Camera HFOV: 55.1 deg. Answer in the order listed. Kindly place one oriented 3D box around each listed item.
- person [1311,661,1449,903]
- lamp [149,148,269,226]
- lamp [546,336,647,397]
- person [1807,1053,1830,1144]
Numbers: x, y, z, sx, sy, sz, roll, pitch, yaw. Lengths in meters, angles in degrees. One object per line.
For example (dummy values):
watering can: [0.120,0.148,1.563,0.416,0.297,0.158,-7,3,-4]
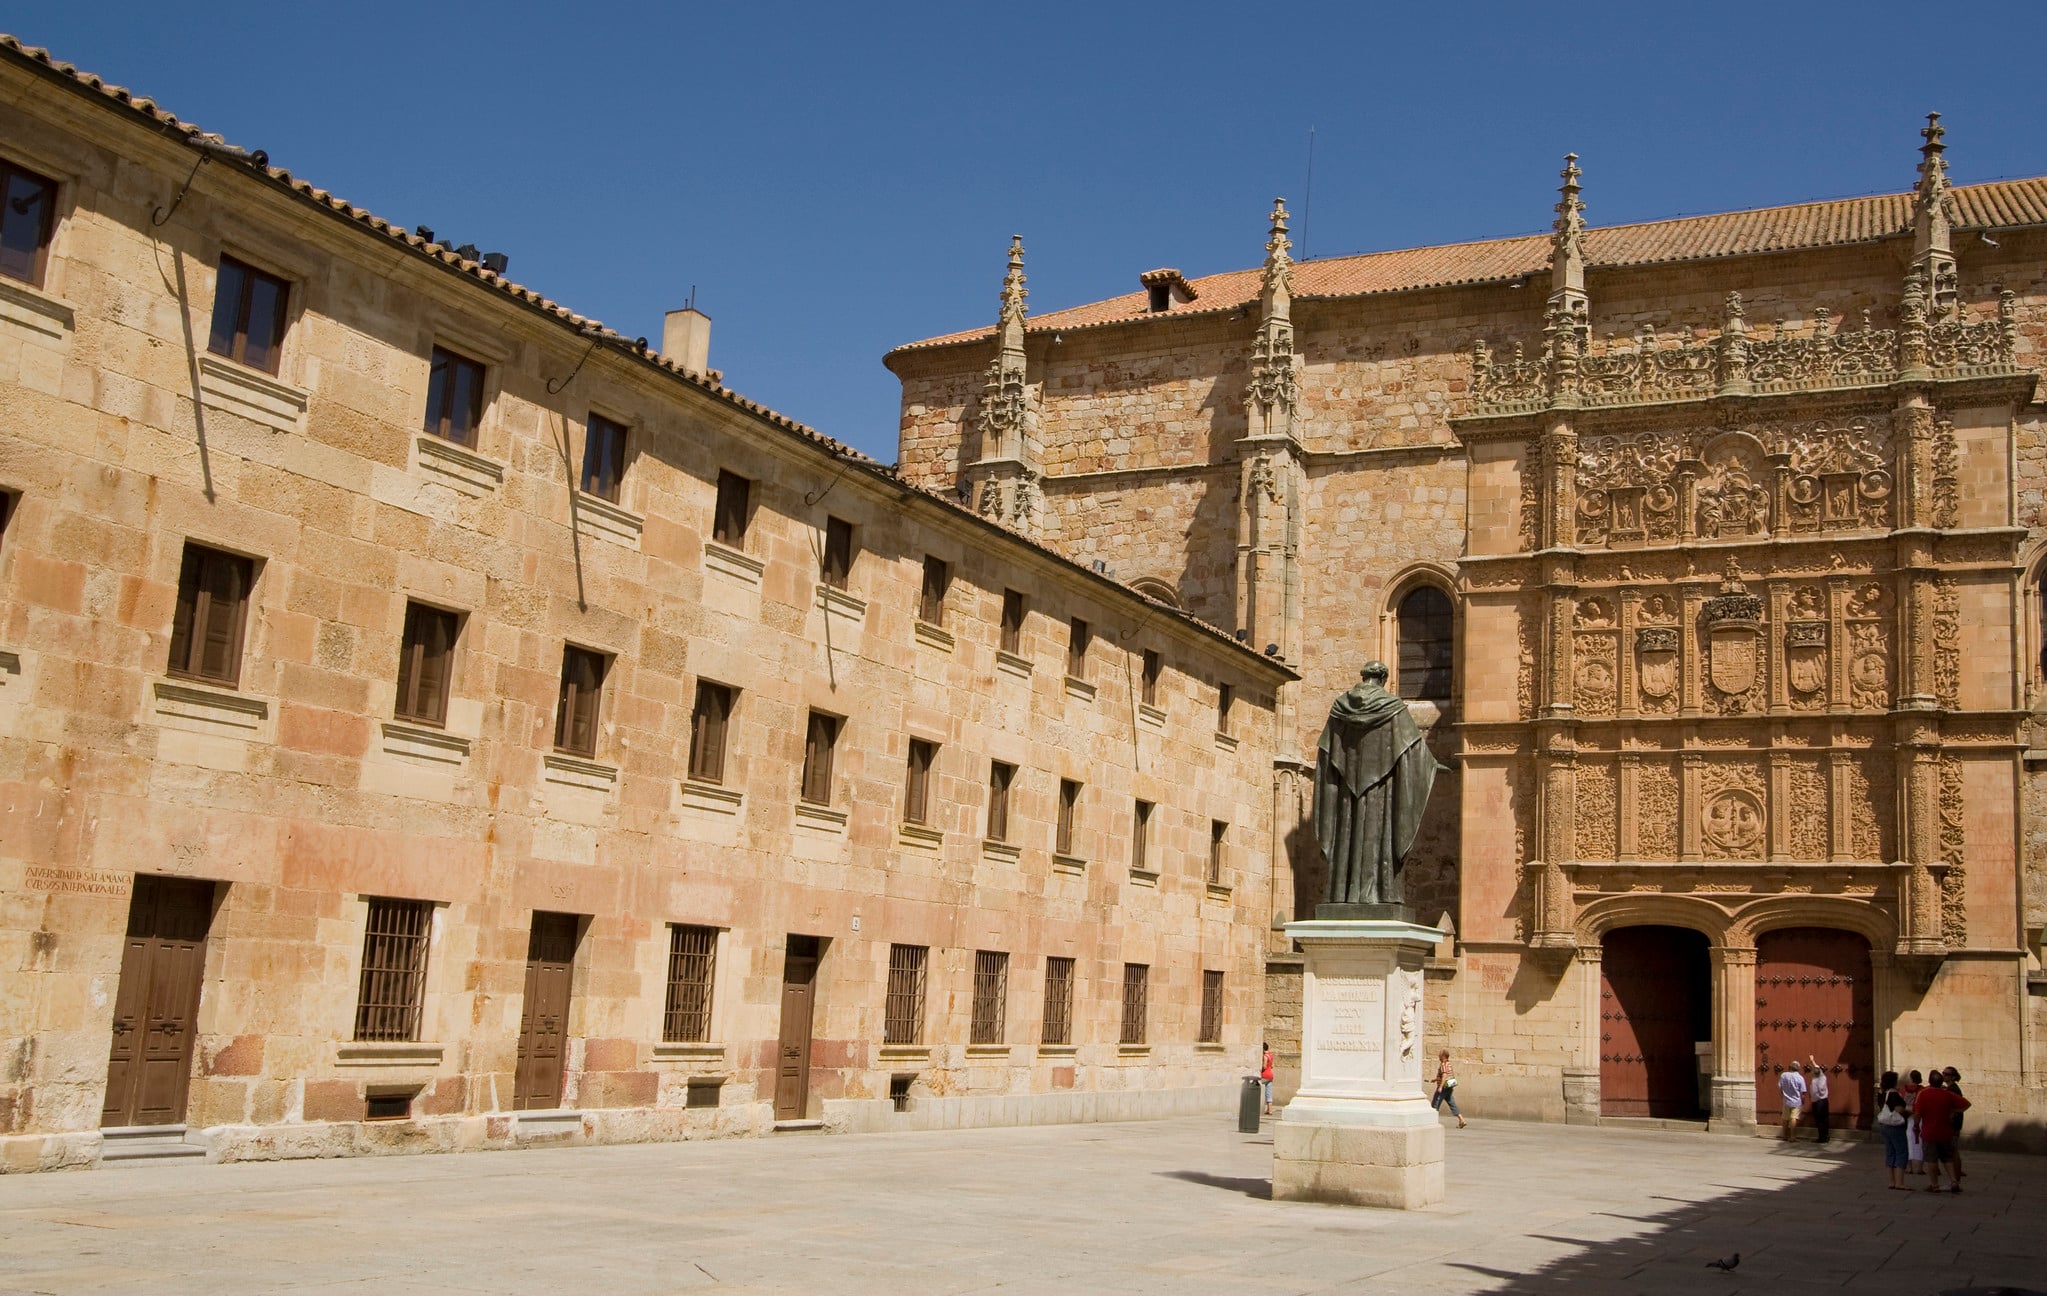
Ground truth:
person: [5.086,1.980,28.722,1.620,3.786,0.799,-3,-18,10]
lamp: [-11.394,-6.455,27.366,1.306,1.258,0.479,3,-18,-7]
lamp: [-6.877,-4.575,31.740,1.460,1.169,0.522,5,-18,-15]
person: [17.919,10.104,44.119,0.509,1.851,1.405,-6,-19,20]
